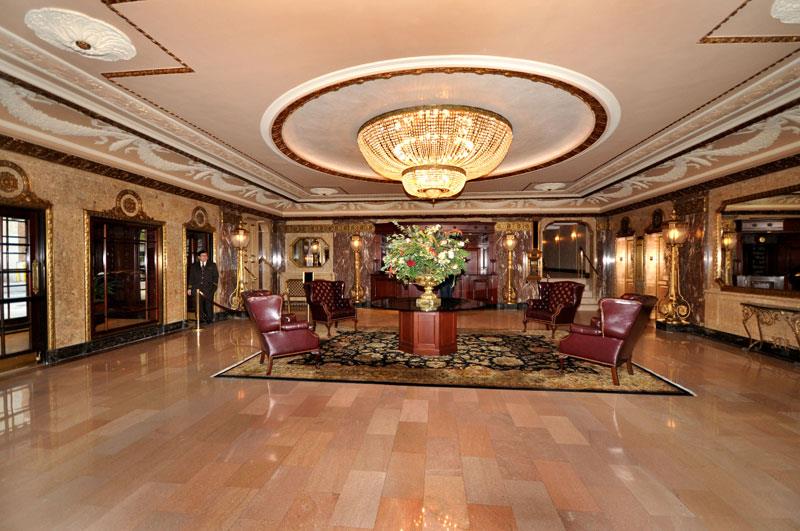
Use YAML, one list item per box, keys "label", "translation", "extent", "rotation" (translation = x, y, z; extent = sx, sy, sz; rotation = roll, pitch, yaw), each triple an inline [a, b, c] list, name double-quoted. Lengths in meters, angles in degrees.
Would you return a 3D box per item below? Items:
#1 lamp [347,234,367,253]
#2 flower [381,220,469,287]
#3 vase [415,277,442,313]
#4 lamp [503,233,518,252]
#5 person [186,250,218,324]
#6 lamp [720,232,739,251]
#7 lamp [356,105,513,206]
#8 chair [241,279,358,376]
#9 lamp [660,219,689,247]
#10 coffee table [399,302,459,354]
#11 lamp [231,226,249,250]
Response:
- label: "lamp"
  translation: [-1.269, -0.648, 14.123]
  extent: [0.388, 0.578, 0.459]
  rotation: [-2, 13, -8]
- label: "flower"
  translation: [0.521, -0.116, 8.477]
  extent: [1.298, 1.031, 1.260]
  rotation: [-18, 13, -18]
- label: "vase"
  translation: [0.511, 0.461, 8.296]
  extent: [0.599, 0.552, 0.561]
  rotation: [1, 0, -21]
- label: "lamp"
  translation: [3.266, -0.678, 13.822]
  extent: [0.418, 0.472, 0.384]
  rotation: [3, 13, 12]
- label: "person"
  translation: [-4.400, 0.545, 10.431]
  extent: [0.534, 1.650, 1.008]
  rotation: [1, 13, 5]
- label: "lamp"
  translation: [6.484, -0.473, 9.262]
  extent: [0.308, 0.309, 0.332]
  rotation: [4, -6, 11]
- label: "lamp"
  translation: [0.535, -1.591, 7.881]
  extent: [2.656, 0.918, 2.494]
  rotation: [-2, -13, 8]
- label: "chair"
  translation: [-1.875, 1.009, 8.463]
  extent: [1.766, 1.899, 1.552]
  rotation: [-2, 1, -28]
- label: "lamp"
  translation: [5.740, -0.703, 10.085]
  extent: [0.582, 0.564, 0.544]
  rotation: [0, -2, 0]
- label: "coffee table"
  translation: [0.493, 1.050, 8.048]
  extent: [1.046, 0.646, 0.838]
  rotation: [1, -4, -1]
- label: "lamp"
  translation: [-3.845, -0.669, 11.327]
  extent: [0.504, 0.687, 0.497]
  rotation: [-2, 2, -10]
